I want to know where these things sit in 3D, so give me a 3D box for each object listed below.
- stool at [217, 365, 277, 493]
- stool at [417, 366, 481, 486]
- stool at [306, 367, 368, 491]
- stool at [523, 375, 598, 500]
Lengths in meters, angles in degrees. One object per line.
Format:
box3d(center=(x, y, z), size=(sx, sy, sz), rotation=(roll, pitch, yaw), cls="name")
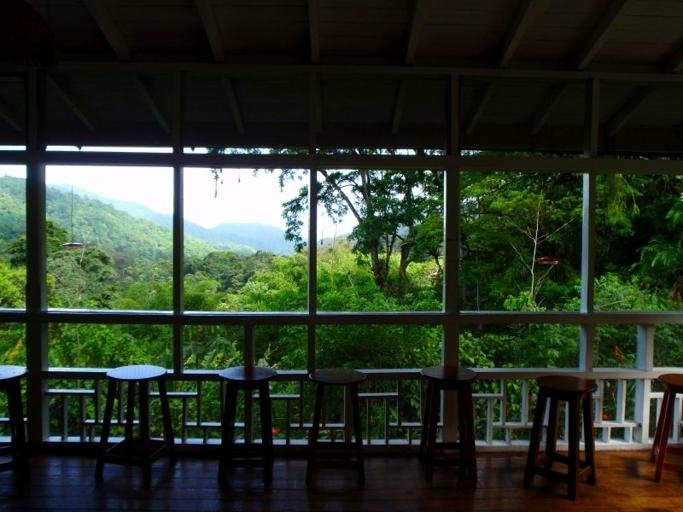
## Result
box3d(center=(-0.761, 1.367, 5.196), size=(0.439, 0.929, 0.400), rotation=(1, -7, -7), cls="stool")
box3d(center=(0.861, 1.396, 5.620), size=(0.717, 1.219, 0.794), rotation=(1, -6, 5), cls="stool")
box3d(center=(-0.045, 1.394, 5.327), size=(0.474, 0.915, 0.634), rotation=(0, -7, 1), cls="stool")
box3d(center=(1.760, 1.434, 5.250), size=(0.553, 0.916, 0.590), rotation=(-1, -7, 17), cls="stool")
